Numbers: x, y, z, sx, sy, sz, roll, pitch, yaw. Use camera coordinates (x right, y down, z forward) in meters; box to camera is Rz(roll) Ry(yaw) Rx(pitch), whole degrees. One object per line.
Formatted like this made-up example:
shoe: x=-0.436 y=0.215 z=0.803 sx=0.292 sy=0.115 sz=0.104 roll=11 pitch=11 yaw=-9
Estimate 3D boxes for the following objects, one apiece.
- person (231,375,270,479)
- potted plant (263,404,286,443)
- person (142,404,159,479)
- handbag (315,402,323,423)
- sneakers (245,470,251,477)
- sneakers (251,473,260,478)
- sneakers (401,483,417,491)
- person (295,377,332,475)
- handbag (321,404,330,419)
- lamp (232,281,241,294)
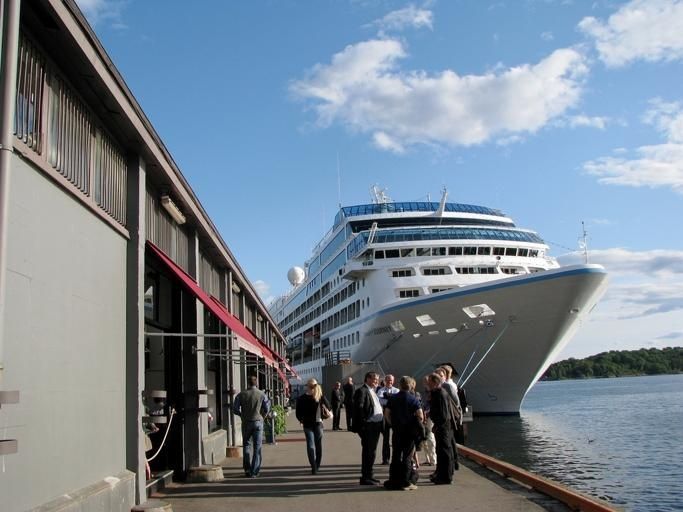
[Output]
person: x=-1.757 y=3.279 z=11.229 sx=0.652 sy=1.853 sz=1.330 roll=3 pitch=-16 yaw=-8
potted plant: x=-2.067 y=4.772 z=16.247 sx=0.743 sy=0.964 sz=0.670 roll=16 pitch=-19 yaw=-38
person: x=-3.210 y=3.115 z=9.620 sx=0.245 sy=1.158 sz=2.611 roll=6 pitch=-18 yaw=-16
handbag: x=-0.418 y=2.945 z=10.856 sx=0.109 sy=0.360 sz=0.342 roll=-4 pitch=-3 yaw=-13
sneakers: x=-1.727 y=4.041 z=10.726 sx=0.081 sy=0.164 sz=0.158 roll=1 pitch=1 yaw=-20
sneakers: x=-1.586 y=4.068 z=10.734 sx=0.139 sy=0.086 sz=0.338 roll=3 pitch=-18 yaw=-4
sneakers: x=1.116 y=3.783 z=9.450 sx=0.084 sy=0.123 sz=0.242 roll=5 pitch=-24 yaw=-36
person: x=-0.507 y=3.245 z=11.015 sx=0.654 sy=1.741 sz=0.893 roll=0 pitch=-16 yaw=4
handbag: x=-0.301 y=2.906 z=10.790 sx=0.241 sy=0.149 sz=0.430 roll=-3 pitch=4 yaw=-4
lamp: x=-3.198 y=0.982 z=17.561 sx=0.075 sy=0.267 sz=0.309 roll=7 pitch=-30 yaw=27
